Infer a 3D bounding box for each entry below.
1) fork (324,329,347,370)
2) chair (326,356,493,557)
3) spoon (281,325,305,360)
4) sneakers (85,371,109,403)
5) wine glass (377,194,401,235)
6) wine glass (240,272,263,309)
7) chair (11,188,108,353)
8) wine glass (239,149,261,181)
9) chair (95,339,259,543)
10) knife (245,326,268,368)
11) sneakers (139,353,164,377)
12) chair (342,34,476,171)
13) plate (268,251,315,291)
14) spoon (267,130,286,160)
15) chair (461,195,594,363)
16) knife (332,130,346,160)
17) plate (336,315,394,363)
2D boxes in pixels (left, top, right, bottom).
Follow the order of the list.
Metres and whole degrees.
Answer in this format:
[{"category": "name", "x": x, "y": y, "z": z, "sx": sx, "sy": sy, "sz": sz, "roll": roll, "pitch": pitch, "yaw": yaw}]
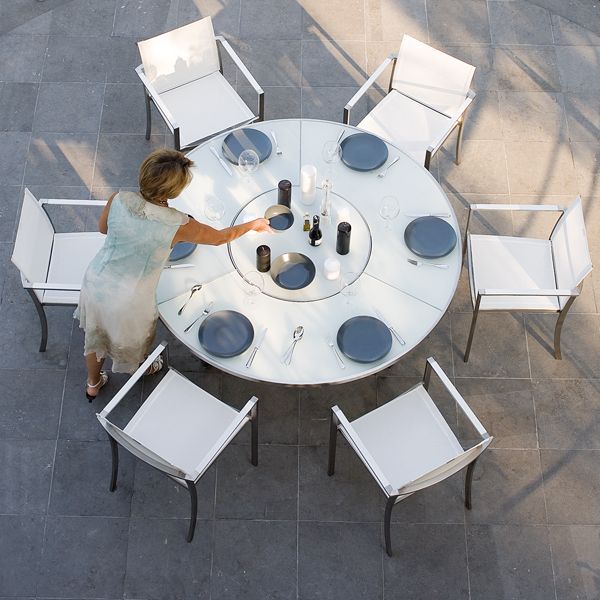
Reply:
[{"category": "fork", "x": 0.179, "y": 0.250, "z": 4.034, "sx": 0.056, "sy": 0.034, "sz": 0.244, "roll": -15, "pitch": 56, "yaw": 2}, {"category": "chair", "x": 0.511, "y": 0.765, "z": 4.160, "sx": 0.683, "sy": 0.802, "sz": 0.997, "roll": -18, "pitch": 48, "yaw": -5}, {"category": "spoon", "x": -0.035, "y": 0.236, "z": 4.033, "sx": 0.050, "sy": 0.042, "sz": 0.300, "roll": 5, "pitch": 64, "yaw": 26}, {"category": "sneakers", "x": -1.276, "y": 0.506, "z": 4.817, "sx": 0.073, "sy": 0.106, "sz": 0.254, "roll": 12, "pitch": 52, "yaw": 0}, {"category": "wine glass", "x": 0.505, "y": -0.517, "z": 4.391, "sx": 0.144, "sy": 0.276, "sz": 0.191, "roll": -4, "pitch": 62, "yaw": 4}, {"category": "wine glass", "x": -0.258, "y": -0.048, "z": 4.133, "sx": 0.105, "sy": 0.208, "sz": 0.151, "roll": -3, "pitch": 64, "yaw": -2}, {"category": "chair", "x": -1.510, "y": -0.239, "z": 4.705, "sx": 0.601, "sy": 0.984, "sz": 0.851, "roll": 0, "pitch": 67, "yaw": -8}, {"category": "wine glass", "x": -0.276, "y": -0.806, "z": 4.525, "sx": 0.127, "sy": 0.184, "sz": 0.146, "roll": 4, "pitch": 29, "yaw": 11}, {"category": "chair", "x": -0.706, "y": 0.851, "z": 4.355, "sx": 0.489, "sy": 0.827, "sz": 0.570, "roll": 32, "pitch": 66, "yaw": 7}, {"category": "knife", "x": -0.224, "y": 0.244, "z": 4.063, "sx": 0.042, "sy": 0.018, "sz": 0.348, "roll": 17, "pitch": 59, "yaw": 7}, {"category": "sneakers", "x": -0.875, "y": 0.374, "z": 4.481, "sx": 0.051, "sy": 0.068, "sz": 0.152, "roll": 36, "pitch": 82, "yaw": 4}, {"category": "chair", "x": 0.763, "y": -1.352, "z": 5.340, "sx": 0.632, "sy": 0.959, "sz": 0.723, "roll": 32, "pitch": 74, "yaw": 12}, {"category": "plate", "x": -0.039, "y": -0.158, "z": 4.211, "sx": 0.241, "sy": 0.082, "sz": 0.204, "roll": -6, "pitch": 65, "yaw": 2}, {"category": "spoon", "x": -0.138, "y": -0.957, "z": 4.678, "sx": 0.053, "sy": 0.031, "sz": 0.294, "roll": -8, "pitch": 49, "yaw": -9}, {"category": "chair", "x": 1.360, "y": -0.156, "z": 4.876, "sx": 0.710, "sy": 1.103, "sz": 0.906, "roll": 1, "pitch": 59, "yaw": 9}, {"category": "knife", "x": 0.236, "y": -0.956, "z": 4.616, "sx": 0.057, "sy": 0.029, "sz": 0.209, "roll": 13, "pitch": 54, "yaw": -1}, {"category": "plate", "x": 0.338, "y": 0.207, "z": 4.022, "sx": 0.281, "sy": 0.037, "sz": 0.257, "roll": -2, "pitch": 66, "yaw": 4}]
